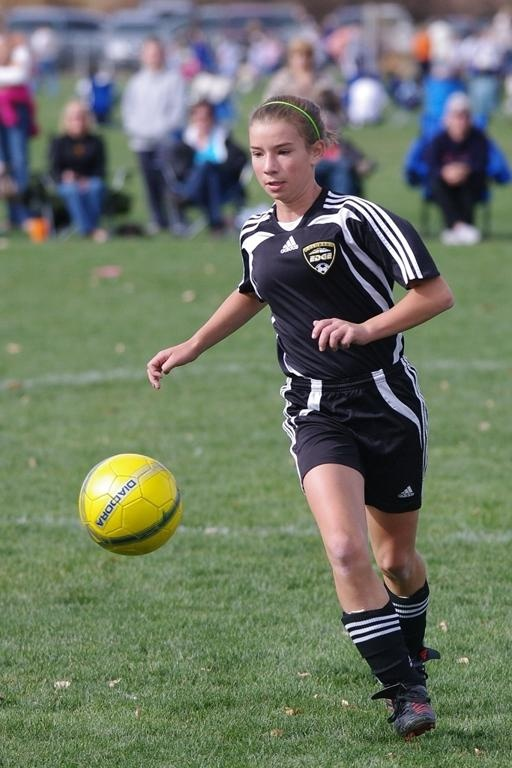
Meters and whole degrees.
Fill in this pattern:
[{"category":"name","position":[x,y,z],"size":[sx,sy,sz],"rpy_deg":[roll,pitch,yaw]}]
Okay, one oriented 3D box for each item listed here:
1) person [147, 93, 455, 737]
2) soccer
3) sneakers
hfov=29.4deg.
[{"category":"person","position":[0.281,0.076,2.982],"size":[0.532,1.913,0.820],"rpy_deg":[-2,14,-12]},{"category":"soccer","position":[-0.367,0.456,3.438],"size":[0.351,0.303,0.306],"rpy_deg":[-9,-8,-21]},{"category":"sneakers","position":[0.445,0.950,2.923],"size":[0.184,0.261,0.191],"rpy_deg":[3,13,11]}]
